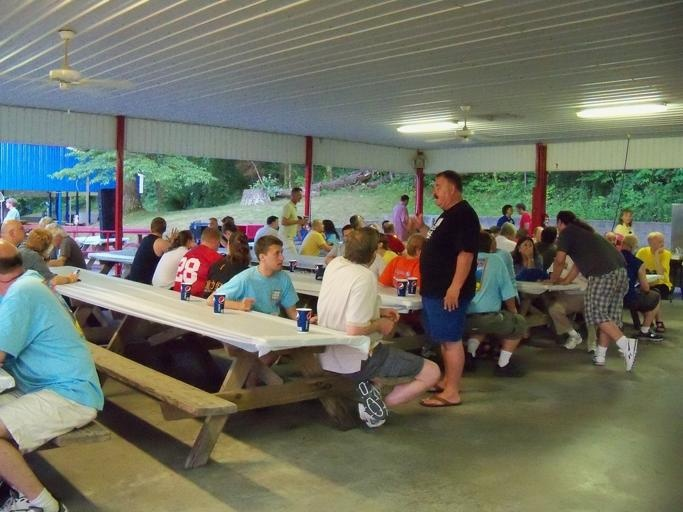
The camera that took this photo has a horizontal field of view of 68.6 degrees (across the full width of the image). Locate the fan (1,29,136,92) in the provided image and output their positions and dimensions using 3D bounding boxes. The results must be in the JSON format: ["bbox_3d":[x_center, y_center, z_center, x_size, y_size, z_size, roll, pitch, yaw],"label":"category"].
[{"bbox_3d":[-3.066,-2.277,5.879,1.237,0.577,1.268,9,21,-2],"label":"fan"}]

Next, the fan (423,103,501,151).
[{"bbox_3d":[2.584,-2.748,10.368,1.674,0.467,1.392,8,3,1],"label":"fan"}]

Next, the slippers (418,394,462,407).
[{"bbox_3d":[0.821,1.217,4.247,0.276,0.052,0.119,2,-1,-7],"label":"slippers"}]

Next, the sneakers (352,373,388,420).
[{"bbox_3d":[0.220,1.004,3.632,0.209,0.344,0.179,-32,6,35],"label":"sneakers"}]

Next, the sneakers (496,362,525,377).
[{"bbox_3d":[1.746,1.165,5.144,0.287,0.095,0.136,0,3,-1],"label":"sneakers"}]

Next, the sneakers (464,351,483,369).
[{"bbox_3d":[1.428,1.116,5.407,0.211,0.163,0.232,-2,1,2],"label":"sneakers"}]
